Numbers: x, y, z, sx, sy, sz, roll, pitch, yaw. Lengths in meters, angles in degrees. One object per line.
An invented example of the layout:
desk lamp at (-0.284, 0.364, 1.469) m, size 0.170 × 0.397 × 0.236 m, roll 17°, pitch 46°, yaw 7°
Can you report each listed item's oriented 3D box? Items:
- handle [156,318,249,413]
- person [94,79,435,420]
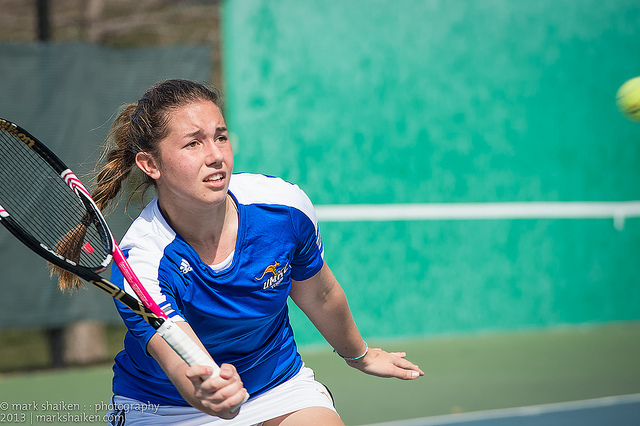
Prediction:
handle at (-0.627, 0.649, 3.676) m, size 0.150 × 0.266 × 0.328 m, roll -19°, pitch 17°, yaw -40°
person at (-0.510, 0.233, 3.915) m, size 1.123 × 1.847 × 0.925 m, roll -3°, pitch 14°, yaw 18°
